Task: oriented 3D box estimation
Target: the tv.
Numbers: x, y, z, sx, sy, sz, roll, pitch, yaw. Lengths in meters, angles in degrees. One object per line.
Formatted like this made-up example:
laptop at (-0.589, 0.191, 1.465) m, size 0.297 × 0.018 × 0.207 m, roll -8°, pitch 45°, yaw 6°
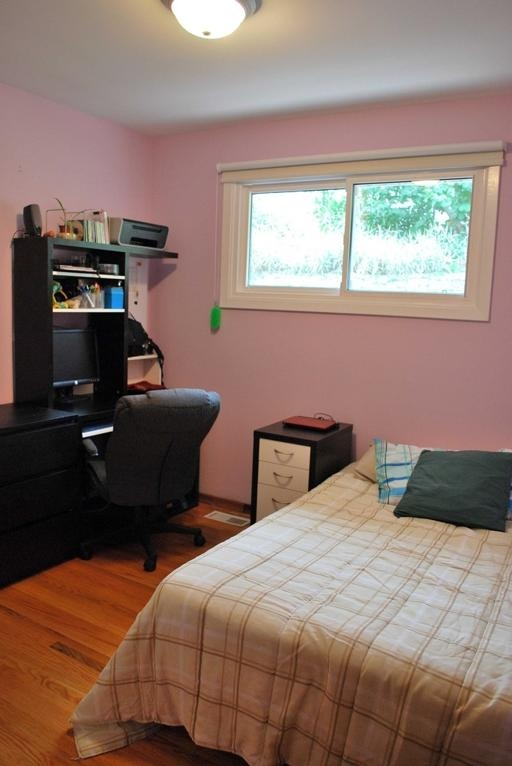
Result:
tv at (-1.020, -0.105, 3.297) m, size 0.144 × 0.445 × 0.452 m, roll 1°, pitch 3°, yaw 25°

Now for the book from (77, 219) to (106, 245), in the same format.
book at (-0.890, -0.813, 3.145) m, size 0.096 × 0.169 × 0.174 m, roll 2°, pitch 8°, yaw 9°

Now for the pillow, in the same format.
pillow at (0.721, 0.481, 2.853) m, size 0.148 × 0.318 × 0.507 m, roll 24°, pitch -6°, yaw -42°

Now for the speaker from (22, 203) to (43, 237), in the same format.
speaker at (-1.116, -0.817, 2.923) m, size 0.075 × 0.164 × 0.137 m, roll 0°, pitch 8°, yaw -28°

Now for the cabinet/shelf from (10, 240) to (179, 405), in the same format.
cabinet/shelf at (-0.924, -0.347, 3.288) m, size 0.303 × 0.904 × 0.971 m, roll 5°, pitch 9°, yaw 28°
